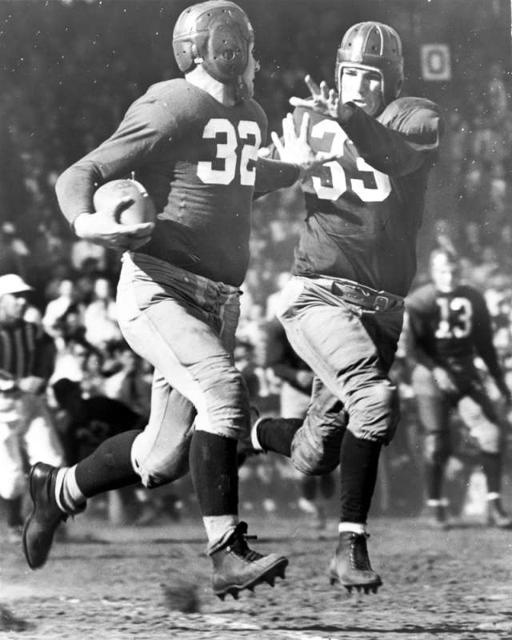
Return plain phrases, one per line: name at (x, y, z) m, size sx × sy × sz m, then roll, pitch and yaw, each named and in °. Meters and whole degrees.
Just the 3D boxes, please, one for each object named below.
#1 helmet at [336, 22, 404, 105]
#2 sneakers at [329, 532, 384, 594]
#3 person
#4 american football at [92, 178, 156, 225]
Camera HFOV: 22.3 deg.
helmet at (0.408, -0.888, 4.512) m, size 0.242 × 0.266 × 0.294 m, roll 8°, pitch 5°, yaw 21°
sneakers at (0.306, 0.751, 3.966) m, size 0.147 × 0.208 × 0.218 m, roll 0°, pitch 23°, yaw 1°
person at (-0.004, -0.073, 4.140) m, size 1.113 × 1.792 × 1.416 m, roll 13°, pitch 26°, yaw 28°
american football at (-0.368, -0.341, 3.736) m, size 0.166 × 0.121 × 0.105 m, roll 25°, pitch 68°, yaw 39°
